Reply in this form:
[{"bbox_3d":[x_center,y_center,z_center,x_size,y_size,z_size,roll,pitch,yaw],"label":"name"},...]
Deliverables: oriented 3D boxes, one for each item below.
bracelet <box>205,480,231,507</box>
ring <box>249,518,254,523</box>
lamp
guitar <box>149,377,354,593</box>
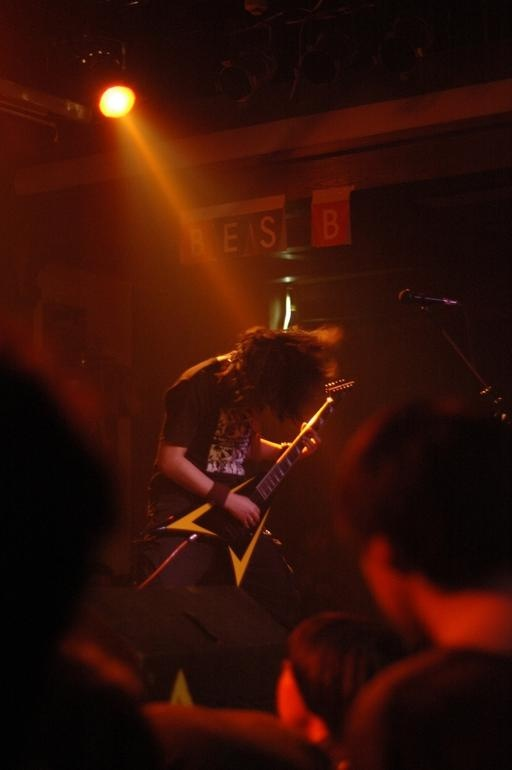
[{"bbox_3d":[-0.162,0.470,2.973,0.086,0.116,0.031,41,-49,-19],"label":"bracelet"},{"bbox_3d":[-0.020,0.602,3.047,0.010,0.034,0.021,7,-1,44],"label":"ring"},{"bbox_3d":[-0.811,-1.706,3.772,0.296,0.450,0.275,7,0,-1],"label":"lamp"},{"bbox_3d":[-0.016,0.428,3.380,0.175,1.463,0.430,-10,-59,55],"label":"guitar"}]
